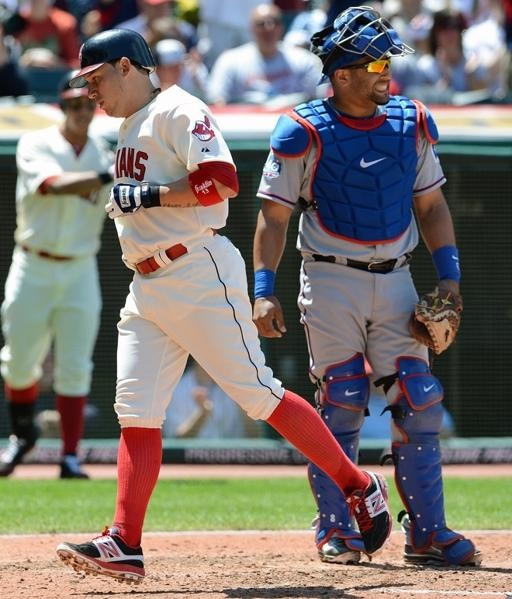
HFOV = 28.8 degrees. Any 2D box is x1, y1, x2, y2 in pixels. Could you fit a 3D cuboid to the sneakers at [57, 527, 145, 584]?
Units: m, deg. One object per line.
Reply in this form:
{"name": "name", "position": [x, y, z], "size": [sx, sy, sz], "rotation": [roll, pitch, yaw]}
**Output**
{"name": "sneakers", "position": [-0.459, 0.765, 2.935], "size": [0.242, 0.158, 0.123], "rotation": [-5, 13, -11]}

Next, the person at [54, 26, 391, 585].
{"name": "person", "position": [-0.151, 0.029, 3.065], "size": [0.901, 1.742, 0.810], "rotation": [-3, 13, 4]}

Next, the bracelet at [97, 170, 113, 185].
{"name": "bracelet", "position": [-0.821, -0.655, 5.423], "size": [0.061, 0.091, 0.108], "rotation": [-8, -2, -18]}

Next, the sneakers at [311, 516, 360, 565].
{"name": "sneakers", "position": [0.279, 0.856, 3.450], "size": [0.087, 0.082, 0.204], "rotation": [4, -13, -16]}

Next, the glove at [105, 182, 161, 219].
{"name": "glove", "position": [-0.369, -0.295, 3.046], "size": [0.165, 0.083, 0.053], "rotation": [-9, -44, 24]}

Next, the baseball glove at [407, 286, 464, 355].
{"name": "baseball glove", "position": [0.569, 0.078, 3.442], "size": [0.127, 0.221, 0.177], "rotation": [-7, -40, 47]}

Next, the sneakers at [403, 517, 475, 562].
{"name": "sneakers", "position": [0.625, 0.836, 3.436], "size": [0.287, 0.135, 0.115], "rotation": [-4, -6, 27]}

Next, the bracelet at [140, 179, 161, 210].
{"name": "bracelet", "position": [-0.321, -0.306, 2.996], "size": [0.068, 0.064, 0.027], "rotation": [-1, 6, 6]}

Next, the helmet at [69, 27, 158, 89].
{"name": "helmet", "position": [-0.452, -0.774, 3.191], "size": [0.282, 0.107, 0.172], "rotation": [-15, 0, -16]}

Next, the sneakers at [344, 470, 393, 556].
{"name": "sneakers", "position": [0.365, 0.684, 3.249], "size": [0.168, 0.279, 0.116], "rotation": [-4, -10, -37]}

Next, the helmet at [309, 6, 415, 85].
{"name": "helmet", "position": [0.351, -0.898, 3.464], "size": [0.335, 0.175, 0.233], "rotation": [-18, 26, 26]}

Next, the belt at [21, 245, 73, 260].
{"name": "belt", "position": [-1.266, -0.264, 5.916], "size": [0.165, 0.031, 0.148], "rotation": [8, 13, -36]}

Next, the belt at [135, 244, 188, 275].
{"name": "belt", "position": [-0.285, -0.120, 3.055], "size": [0.165, 0.044, 0.038], "rotation": [-25, -27, 19]}
